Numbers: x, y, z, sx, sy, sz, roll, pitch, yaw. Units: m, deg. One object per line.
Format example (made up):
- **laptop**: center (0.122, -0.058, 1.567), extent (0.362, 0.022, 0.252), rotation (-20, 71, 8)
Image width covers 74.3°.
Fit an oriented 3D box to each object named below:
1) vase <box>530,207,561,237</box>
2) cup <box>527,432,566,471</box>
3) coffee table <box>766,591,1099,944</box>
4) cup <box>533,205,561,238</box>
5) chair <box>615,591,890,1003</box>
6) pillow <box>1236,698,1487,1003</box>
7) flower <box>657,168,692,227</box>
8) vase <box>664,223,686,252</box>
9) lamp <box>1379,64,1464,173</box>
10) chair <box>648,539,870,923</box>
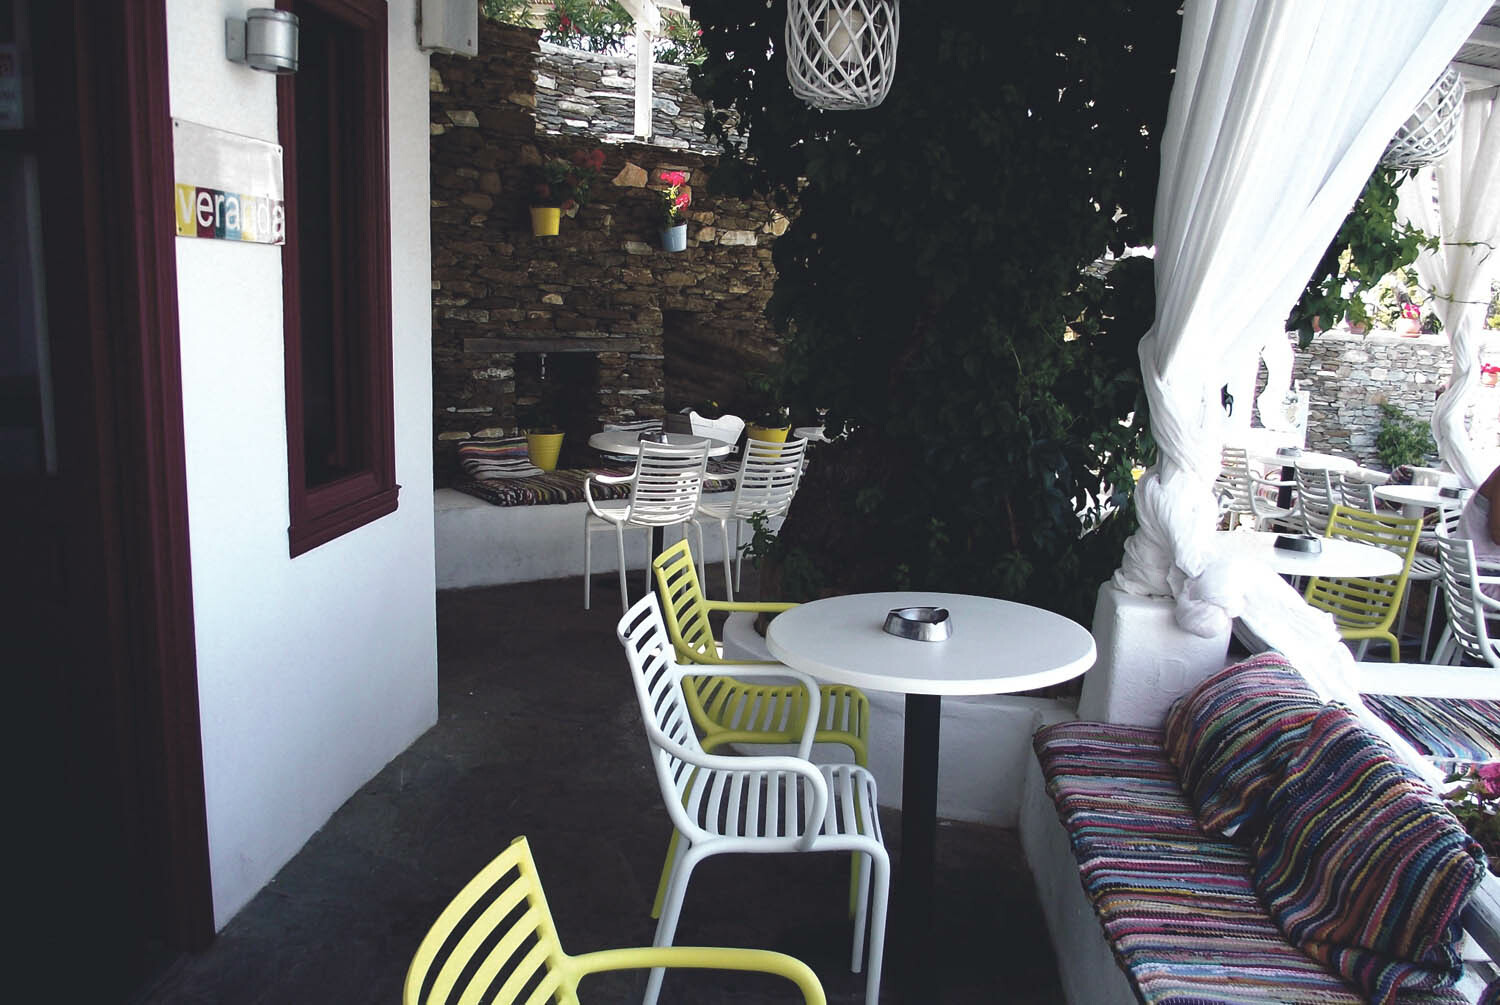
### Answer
- **vase**: center (-1.813, -2.490, 8.809), extent (0.222, 0.196, 0.219), rotation (0, 5, -3)
- **cup**: center (-1.788, -0.458, 8.869), extent (0.285, 0.318, 0.315), rotation (1, 3, 8)
- **coffee table**: center (0.584, 1.001, 3.940), extent (1.074, 1.349, 1.128), rotation (-7, 16, -25)
- **cup**: center (-1.790, -2.507, 8.830), extent (0.220, 0.194, 0.217), rotation (0, 5, 0)
- **chair**: center (-0.042, 1.002, 3.961), extent (1.157, 1.787, 1.224), rotation (-1, 7, 3)
- **pillow**: center (1.715, 1.005, 2.849), extent (0.349, 0.546, 0.661), rotation (2, 15, -7)
- **flower**: center (-0.689, -2.962, 9.544), extent (0.405, 0.528, 0.178), rotation (-9, 19, -40)
- **vase**: center (-0.685, -2.562, 9.602), extent (0.180, 0.273, 0.361), rotation (10, 16, 23)
- **lamp**: center (2.969, -1.694, 4.388), extent (0.219, 0.436, 0.496), rotation (17, 20, 42)
- **chair**: center (-0.014, 0.751, 4.523), extent (1.163, 1.811, 1.081), rotation (0, 8, 7)
